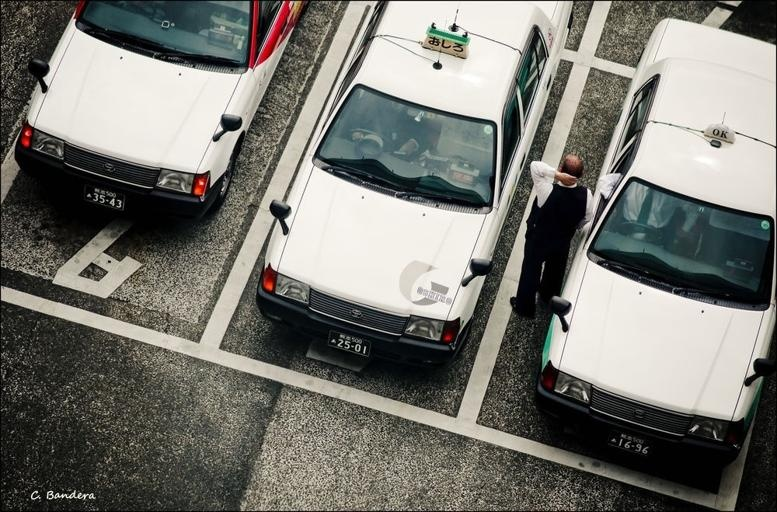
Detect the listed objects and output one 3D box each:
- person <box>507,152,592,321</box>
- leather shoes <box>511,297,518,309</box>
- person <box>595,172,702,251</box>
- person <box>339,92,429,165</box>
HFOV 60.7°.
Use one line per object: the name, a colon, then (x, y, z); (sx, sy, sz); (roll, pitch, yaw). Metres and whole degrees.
person: (2.148, -0.360, 8.976); (0.848, 2.542, 0.802); (-11, 45, -15)
leather shoes: (1.741, 0.639, 9.213); (0.066, 0.130, 0.056); (5, -5, 40)
person: (3.349, -0.420, 8.383); (0.686, 0.641, 1.297); (20, 36, 5)
person: (0.009, -1.681, 8.906); (0.608, 1.157, 0.494); (14, -9, 2)
